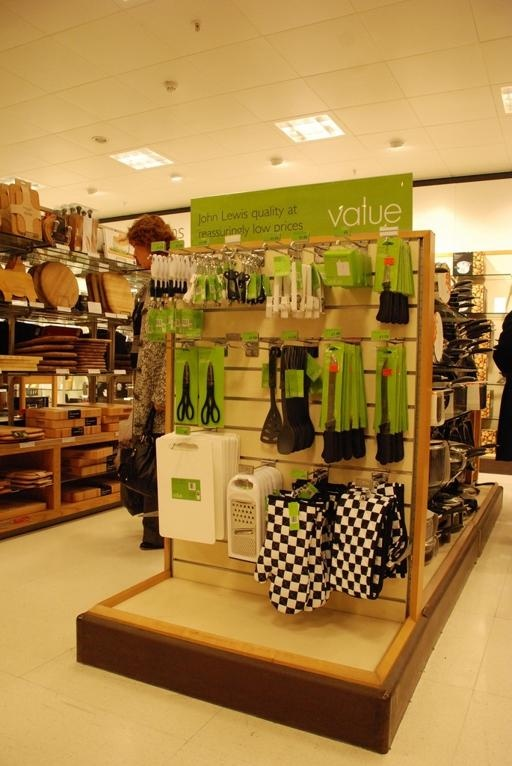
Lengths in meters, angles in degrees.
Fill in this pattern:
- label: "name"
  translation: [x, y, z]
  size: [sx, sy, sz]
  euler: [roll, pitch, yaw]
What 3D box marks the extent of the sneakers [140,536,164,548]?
- label: "sneakers"
  translation: [-0.665, 1.017, 3.452]
  size: [0.156, 0.074, 0.068]
  euler: [0, -1, 6]
